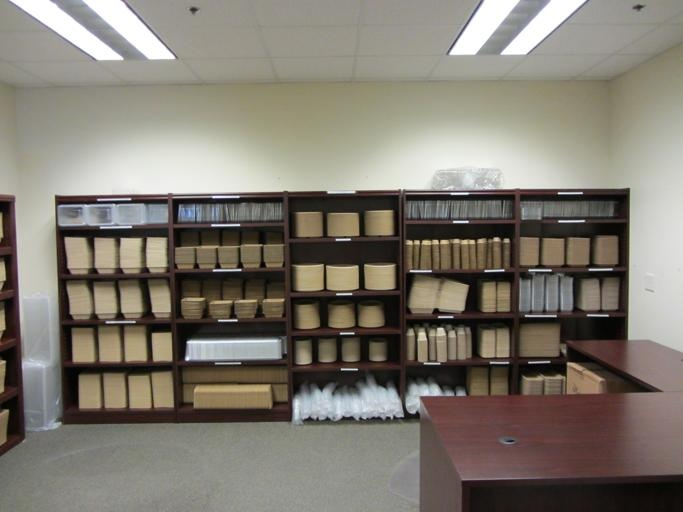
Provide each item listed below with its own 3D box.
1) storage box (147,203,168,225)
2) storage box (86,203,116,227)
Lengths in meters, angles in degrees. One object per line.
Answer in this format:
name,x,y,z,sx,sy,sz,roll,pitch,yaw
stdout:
storage box,-1.666,-0.370,5.098,0.232,0.213,0.163,1,3,2
storage box,-2.168,-0.367,5.034,0.269,0.176,0.182,1,6,-2
